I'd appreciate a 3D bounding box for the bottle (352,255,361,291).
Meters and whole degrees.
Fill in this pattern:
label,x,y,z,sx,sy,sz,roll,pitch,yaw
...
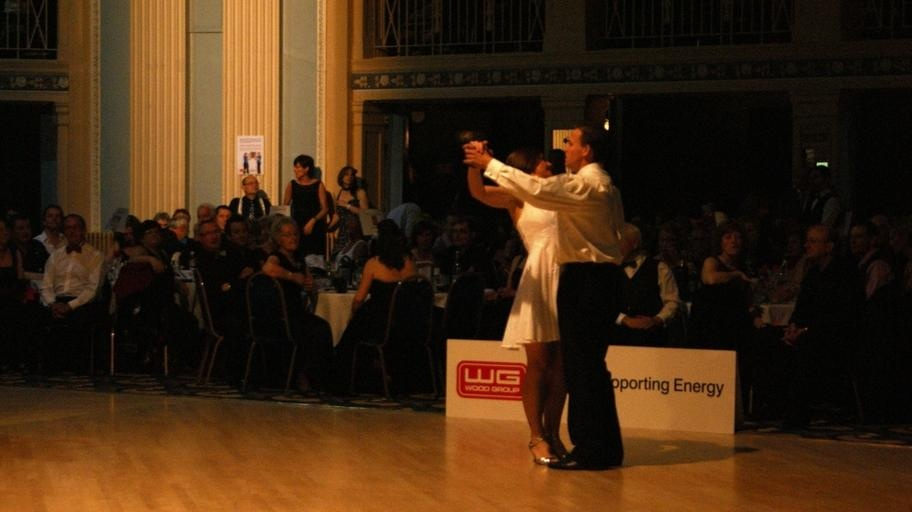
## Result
label,x,y,z,sx,sy,sz,roll,pitch,yaw
bottle,-1.223,0.204,13.139,0.096,0.287,0.202,1,5,-1

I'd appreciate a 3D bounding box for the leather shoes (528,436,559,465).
label,x,y,z,sx,sy,sz,roll,pitch,yaw
leather shoes,0.786,1.837,10.033,0.177,0.157,0.300,1,-2,-20

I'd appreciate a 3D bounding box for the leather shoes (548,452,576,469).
label,x,y,z,sx,sy,sz,roll,pitch,yaw
leather shoes,0.970,1.907,9.905,0.225,0.094,0.123,3,-5,2
